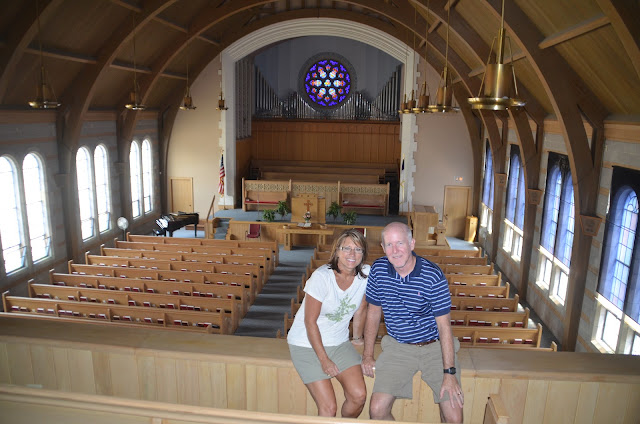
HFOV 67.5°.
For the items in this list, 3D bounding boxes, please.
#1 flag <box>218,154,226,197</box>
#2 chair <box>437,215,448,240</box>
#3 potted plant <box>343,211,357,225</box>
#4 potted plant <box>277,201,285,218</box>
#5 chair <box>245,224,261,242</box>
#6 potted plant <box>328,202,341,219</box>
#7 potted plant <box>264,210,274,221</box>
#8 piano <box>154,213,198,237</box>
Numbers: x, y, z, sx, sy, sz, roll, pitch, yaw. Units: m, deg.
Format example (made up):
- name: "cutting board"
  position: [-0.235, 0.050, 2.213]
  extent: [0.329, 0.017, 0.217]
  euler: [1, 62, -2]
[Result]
- name: "flag"
  position: [-4.306, -1.626, 20.965]
  extent: [0.296, 1.923, 0.729]
  euler: [0, 3, -14]
- name: "chair"
  position: [4.910, 0.622, 19.221]
  extent: [0.249, 0.510, 0.906]
  euler: [1, 16, 7]
- name: "potted plant"
  position: [1.170, 0.230, 18.544]
  extent: [0.484, 0.601, 0.507]
  euler: [0, -1, 6]
- name: "potted plant"
  position: [-1.504, -0.084, 18.884]
  extent: [0.273, 0.645, 1.077]
  euler: [0, 2, -7]
- name: "chair"
  position: [-2.537, 0.791, 18.396]
  extent: [0.499, 0.726, 0.553]
  euler: [1, 4, 5]
- name: "potted plant"
  position: [0.488, -0.038, 18.949]
  extent: [0.592, 0.909, 0.679]
  euler: [0, 5, 7]
- name: "potted plant"
  position: [-1.974, 0.131, 18.355]
  extent: [0.353, 0.314, 0.348]
  euler: [-5, 2, -38]
- name: "piano"
  position: [-5.562, 0.651, 18.769]
  extent: [1.460, 0.946, 1.071]
  euler: [-1, 5, -38]
